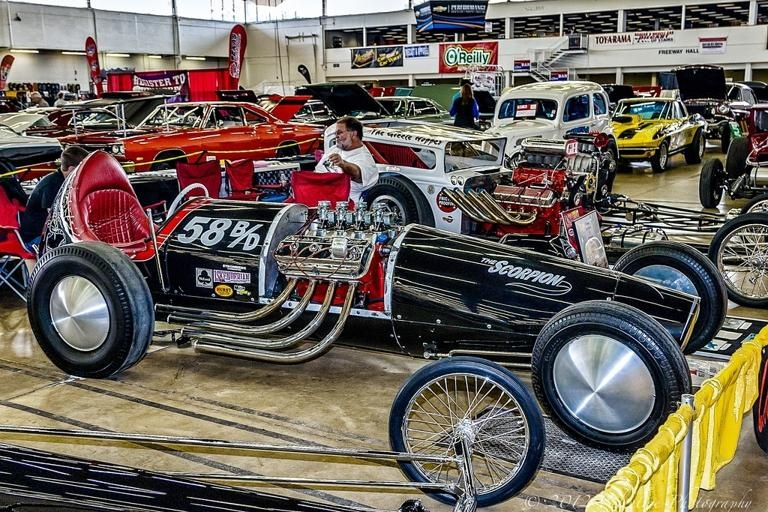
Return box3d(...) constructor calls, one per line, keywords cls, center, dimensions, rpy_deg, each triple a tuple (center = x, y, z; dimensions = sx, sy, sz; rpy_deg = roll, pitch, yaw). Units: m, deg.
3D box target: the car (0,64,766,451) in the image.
box3d(cls="car", center=(-0.423, -0.141, 5.099), dimensions=(5.108, 1.620, 2.568), rpy_deg=(4, 16, 21))
